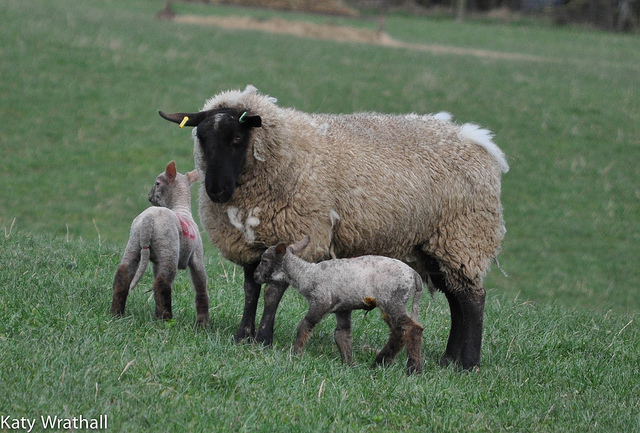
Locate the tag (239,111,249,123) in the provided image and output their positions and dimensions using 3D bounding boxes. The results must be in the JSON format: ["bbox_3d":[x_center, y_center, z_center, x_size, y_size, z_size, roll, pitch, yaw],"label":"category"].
[{"bbox_3d":[-1.014,-1.336,14.739,0.046,0.125,0.096,42,15,5],"label":"tag"}]

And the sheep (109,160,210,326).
[{"bbox_3d":[-2.069,0.379,15.064,1.294,2.096,1.579,7,20,0],"label":"sheep"}]
